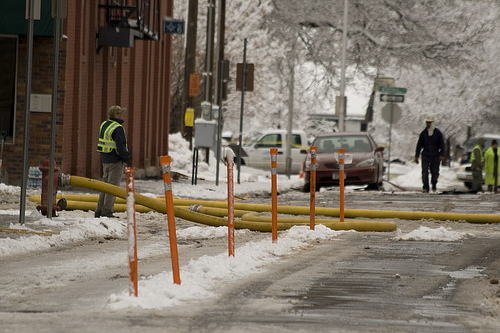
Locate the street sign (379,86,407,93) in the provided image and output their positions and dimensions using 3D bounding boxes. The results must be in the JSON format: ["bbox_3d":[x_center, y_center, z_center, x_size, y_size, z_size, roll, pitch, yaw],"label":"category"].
[{"bbox_3d":[5.097,-2.755,29.282,1.148,0.231,0.459,-1,5,-32],"label":"street sign"}]

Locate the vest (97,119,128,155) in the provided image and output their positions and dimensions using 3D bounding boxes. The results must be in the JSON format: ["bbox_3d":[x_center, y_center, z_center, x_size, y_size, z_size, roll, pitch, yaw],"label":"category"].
[{"bbox_3d":[-2.733,-0.619,16.418,0.584,0.670,0.366,2,4,5],"label":"vest"}]

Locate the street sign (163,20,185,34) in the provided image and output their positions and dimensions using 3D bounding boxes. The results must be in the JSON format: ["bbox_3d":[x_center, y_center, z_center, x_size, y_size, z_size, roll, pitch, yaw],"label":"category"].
[{"bbox_3d":[-2.235,-4.196,24.532,0.559,0.571,0.136,2,2,3],"label":"street sign"}]

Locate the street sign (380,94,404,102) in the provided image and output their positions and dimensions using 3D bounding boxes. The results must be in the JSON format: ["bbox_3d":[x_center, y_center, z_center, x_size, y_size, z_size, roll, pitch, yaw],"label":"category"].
[{"bbox_3d":[5.019,-2.443,29.068,0.815,0.269,0.752,2,5,-3],"label":"street sign"}]

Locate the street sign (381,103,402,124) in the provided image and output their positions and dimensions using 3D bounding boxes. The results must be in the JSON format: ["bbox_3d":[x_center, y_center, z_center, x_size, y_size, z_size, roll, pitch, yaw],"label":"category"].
[{"bbox_3d":[5.032,-1.907,29.094,0.696,0.711,0.416,1,4,-14],"label":"street sign"}]

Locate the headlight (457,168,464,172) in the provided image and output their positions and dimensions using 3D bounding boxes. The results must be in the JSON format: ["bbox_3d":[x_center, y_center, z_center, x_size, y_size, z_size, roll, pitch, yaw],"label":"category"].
[{"bbox_3d":[7.725,0.099,30.117,0.143,0.143,0.039,0,-14,37],"label":"headlight"}]

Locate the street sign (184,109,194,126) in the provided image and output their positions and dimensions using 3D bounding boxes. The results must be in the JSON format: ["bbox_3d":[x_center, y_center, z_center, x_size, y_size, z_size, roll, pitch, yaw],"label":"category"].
[{"bbox_3d":[-2.071,-1.724,28.556,0.264,0.562,0.738,1,5,-5],"label":"street sign"}]

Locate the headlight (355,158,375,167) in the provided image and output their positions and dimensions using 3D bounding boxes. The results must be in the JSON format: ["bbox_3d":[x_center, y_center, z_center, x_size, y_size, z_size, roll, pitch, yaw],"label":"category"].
[{"bbox_3d":[3.546,-0.109,25.005,0.344,0.121,0.254,-13,2,12],"label":"headlight"}]
